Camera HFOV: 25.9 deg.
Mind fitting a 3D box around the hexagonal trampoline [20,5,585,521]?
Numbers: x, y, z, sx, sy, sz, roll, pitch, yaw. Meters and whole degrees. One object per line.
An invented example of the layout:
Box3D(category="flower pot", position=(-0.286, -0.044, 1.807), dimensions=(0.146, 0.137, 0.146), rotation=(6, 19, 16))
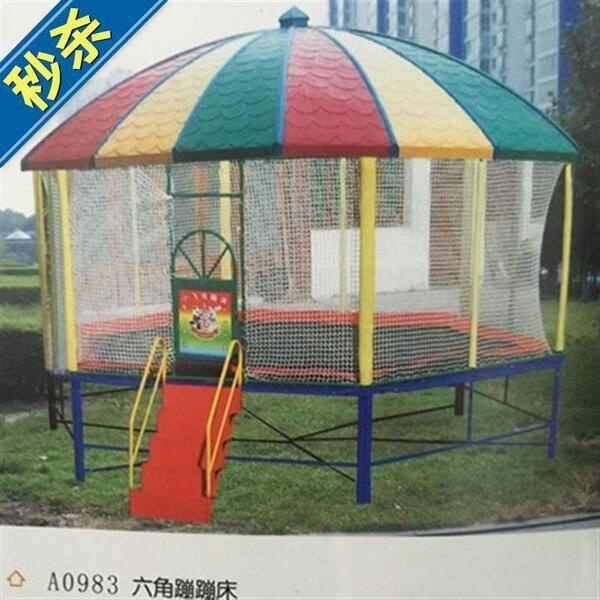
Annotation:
Box3D(category="hexagonal trampoline", position=(-0.172, -1.049, 17.979), dimensions=(6.260, 6.076, 6.337), rotation=(3, 3, 44))
